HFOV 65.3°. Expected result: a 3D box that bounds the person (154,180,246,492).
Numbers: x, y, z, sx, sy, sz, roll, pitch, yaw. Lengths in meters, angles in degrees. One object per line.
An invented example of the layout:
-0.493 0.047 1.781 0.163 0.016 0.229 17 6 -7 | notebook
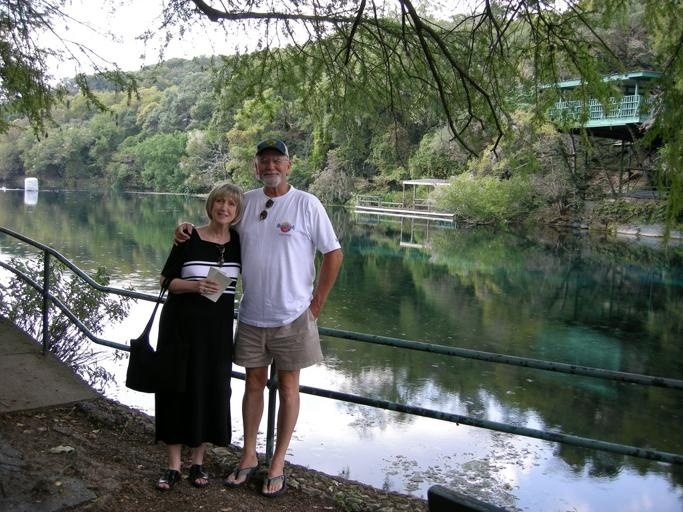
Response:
-0.825 0.428 3.040 0.443 1.696 0.358 4 7 -16 | person

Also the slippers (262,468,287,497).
-0.386 1.292 3.031 0.131 0.089 0.353 -1 1 -2 | slippers

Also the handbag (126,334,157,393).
-1.118 0.584 2.981 0.163 0.331 0.073 1 -1 2 | handbag

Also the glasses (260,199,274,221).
-0.441 -0.276 3.106 0.047 0.164 0.032 15 -21 18 | glasses

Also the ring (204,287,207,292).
-0.753 0.181 2.926 0.022 0.026 0.009 6 7 -7 | ring
